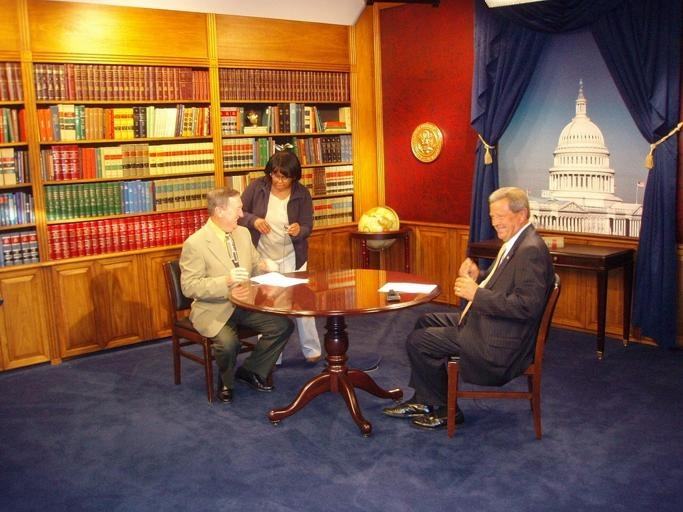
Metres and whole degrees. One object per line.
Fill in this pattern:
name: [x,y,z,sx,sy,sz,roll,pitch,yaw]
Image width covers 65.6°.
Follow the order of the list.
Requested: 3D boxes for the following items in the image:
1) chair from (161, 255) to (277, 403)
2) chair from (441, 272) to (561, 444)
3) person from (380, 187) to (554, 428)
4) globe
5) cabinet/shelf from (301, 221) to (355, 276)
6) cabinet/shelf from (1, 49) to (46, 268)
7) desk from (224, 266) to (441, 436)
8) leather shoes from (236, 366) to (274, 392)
chair: [-1.184,0.544,4.330,0.641,0.920,0.612,7,10,12]
chair: [1.152,0.710,3.707,0.734,1.023,0.630,-1,-11,13]
person: [0.929,0.357,3.505,0.974,1.595,0.504,3,12,22]
globe: [0.474,-0.188,6.619,0.710,0.847,0.672,-1,15,17]
cabinet/shelf: [-0.219,-0.104,6.053,0.561,0.509,0.214,-7,9,-39]
cabinet/shelf: [-2.951,-0.897,4.790,0.159,1.888,0.223,-8,13,-29]
desk: [-0.075,0.482,3.639,1.183,0.757,1.187,5,10,37]
leather shoes: [-0.761,1.004,4.365,0.394,0.168,0.134,10,14,31]
